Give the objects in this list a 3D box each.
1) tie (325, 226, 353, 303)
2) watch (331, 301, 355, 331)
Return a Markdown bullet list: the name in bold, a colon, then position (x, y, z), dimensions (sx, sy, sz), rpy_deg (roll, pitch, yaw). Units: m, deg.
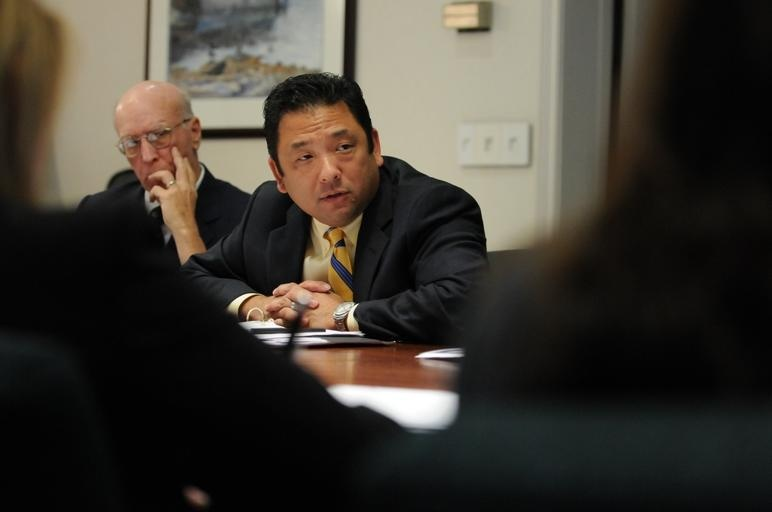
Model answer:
- **tie**: position (-0.111, -0.009, 1.517), dimensions (0.045, 0.031, 0.206), rpy_deg (-8, 26, -4)
- **watch**: position (-0.074, 0.111, 1.252), dimensions (0.030, 0.045, 0.047), rpy_deg (-5, 43, 24)
